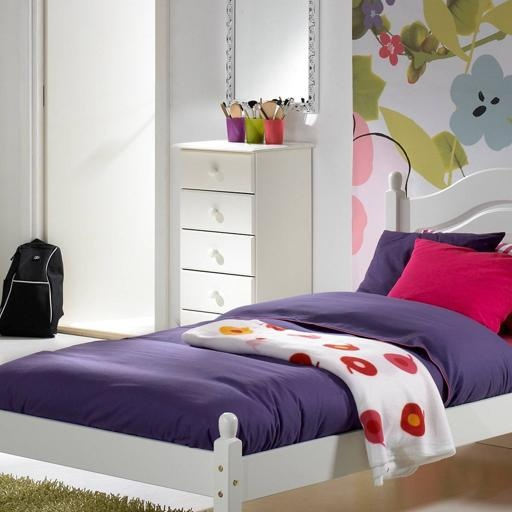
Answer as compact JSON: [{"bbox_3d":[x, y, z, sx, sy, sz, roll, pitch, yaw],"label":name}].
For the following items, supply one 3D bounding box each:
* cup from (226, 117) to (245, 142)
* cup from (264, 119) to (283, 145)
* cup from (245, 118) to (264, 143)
[{"bbox_3d":[-0.120,-0.753,3.159,0.112,0.169,0.124,0,4,7],"label":"cup"},{"bbox_3d":[0.106,-0.720,3.072,0.114,0.141,0.118,0,7,0],"label":"cup"},{"bbox_3d":[0.004,-0.746,3.149,0.114,0.147,0.122,1,7,0],"label":"cup"}]
